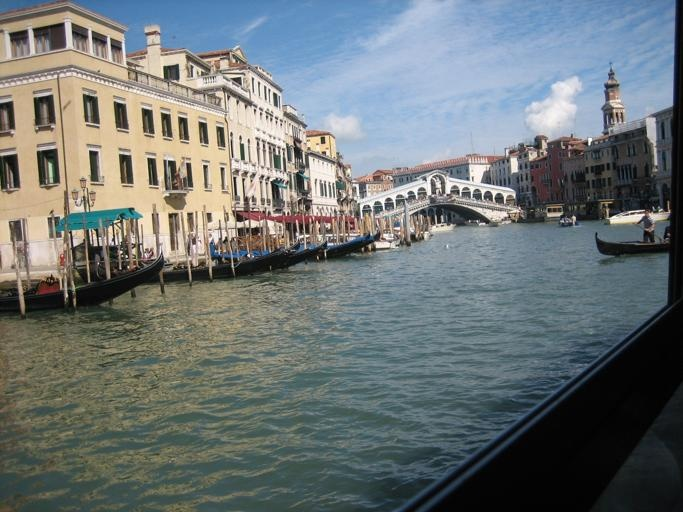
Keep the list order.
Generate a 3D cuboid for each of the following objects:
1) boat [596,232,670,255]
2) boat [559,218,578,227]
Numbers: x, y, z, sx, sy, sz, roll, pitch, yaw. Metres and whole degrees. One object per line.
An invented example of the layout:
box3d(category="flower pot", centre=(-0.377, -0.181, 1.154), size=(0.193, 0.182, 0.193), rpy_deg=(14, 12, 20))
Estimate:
box3d(category="boat", centre=(11.245, -0.285, 24.661), size=(1.076, 0.839, 3.832), rpy_deg=(-5, 5, -9))
box3d(category="boat", centre=(22.065, -3.298, 61.453), size=(1.235, 1.094, 4.015), rpy_deg=(0, 6, 9))
